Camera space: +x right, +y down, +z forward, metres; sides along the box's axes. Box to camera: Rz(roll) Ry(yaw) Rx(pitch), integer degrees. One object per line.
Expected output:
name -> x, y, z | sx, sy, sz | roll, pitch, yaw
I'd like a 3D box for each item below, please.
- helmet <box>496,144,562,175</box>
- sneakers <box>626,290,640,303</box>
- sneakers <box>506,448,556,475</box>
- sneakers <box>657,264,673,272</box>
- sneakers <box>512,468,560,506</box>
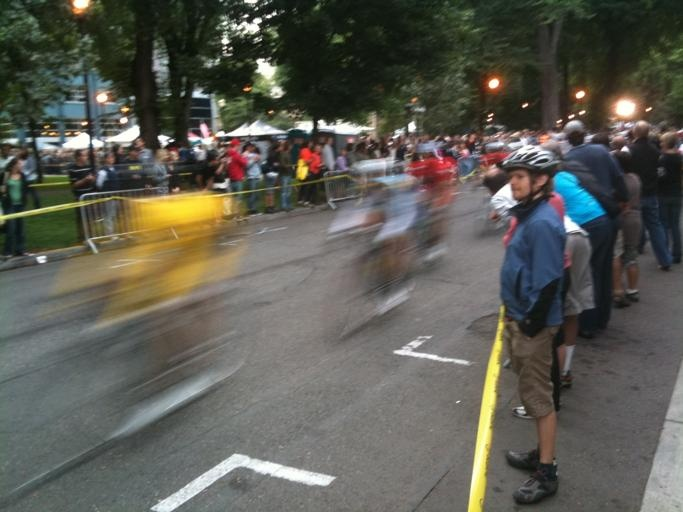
helmet -> 1.400, -0.700, 4.146 | 0.324, 0.141, 0.235 | 1, 18, 1
sneakers -> 3.962, 0.544, 7.730 | 0.085, 0.103, 0.242 | 2, 31, 37
sneakers -> 1.467, 1.579, 4.397 | 0.347, 0.153, 0.129 | 5, 19, 38
sneakers -> 5.258, 0.196, 9.273 | 0.112, 0.091, 0.266 | -14, -5, 6
sneakers -> 1.395, 1.639, 4.118 | 0.385, 0.161, 0.156 | -11, 6, -23
